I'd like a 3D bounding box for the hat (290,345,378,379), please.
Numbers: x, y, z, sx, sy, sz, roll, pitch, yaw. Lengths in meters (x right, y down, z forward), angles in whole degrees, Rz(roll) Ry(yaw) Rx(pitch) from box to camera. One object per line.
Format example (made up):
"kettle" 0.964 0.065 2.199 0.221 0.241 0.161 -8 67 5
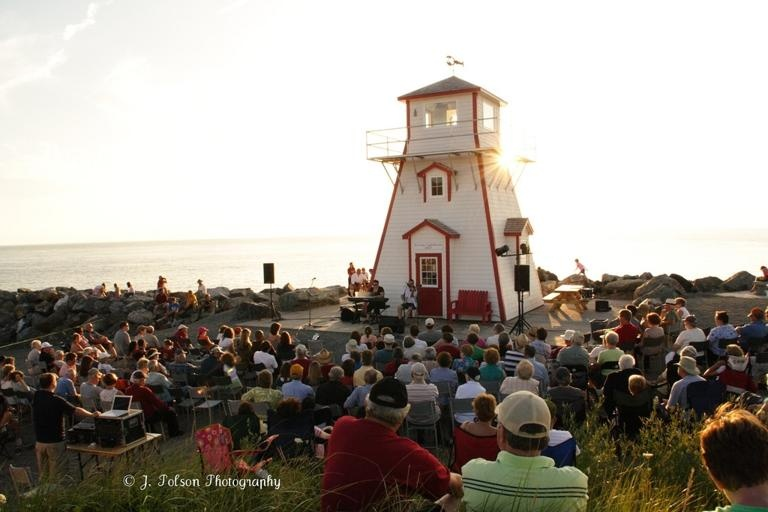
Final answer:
"hat" -1.088 2.301 12.194 1.275 0.309 1.200 -1 6 7

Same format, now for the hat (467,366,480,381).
"hat" 1.673 2.216 10.593 0.200 0.251 0.252 9 37 -22

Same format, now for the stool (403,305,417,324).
"stool" 1.021 2.354 22.738 0.547 1.007 0.545 -2 12 2

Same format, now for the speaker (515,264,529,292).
"speaker" 4.741 0.751 19.311 0.367 0.906 0.705 -1 -3 23

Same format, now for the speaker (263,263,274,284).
"speaker" -4.584 0.703 22.318 0.338 0.787 1.677 1 -3 -15

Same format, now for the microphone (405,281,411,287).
"microphone" 0.992 1.145 22.832 0.148 0.167 0.188 1 -8 6

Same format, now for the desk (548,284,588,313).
"desk" 7.678 1.713 23.627 1.236 0.681 1.393 0 5 18

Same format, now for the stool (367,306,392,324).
"stool" -0.279 2.390 22.663 0.910 0.657 0.598 0 -2 1

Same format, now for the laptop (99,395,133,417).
"laptop" -4.355 2.463 9.141 0.442 0.269 0.405 0 -3 17

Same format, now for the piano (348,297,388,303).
"piano" -0.681 1.782 22.755 0.714 0.263 1.636 2 -4 -40

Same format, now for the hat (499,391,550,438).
"hat" 1.460 1.649 5.891 0.377 0.295 0.509 1 13 -9

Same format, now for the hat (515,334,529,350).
"hat" 2.975 1.864 12.227 0.268 0.335 0.335 3 5 12
